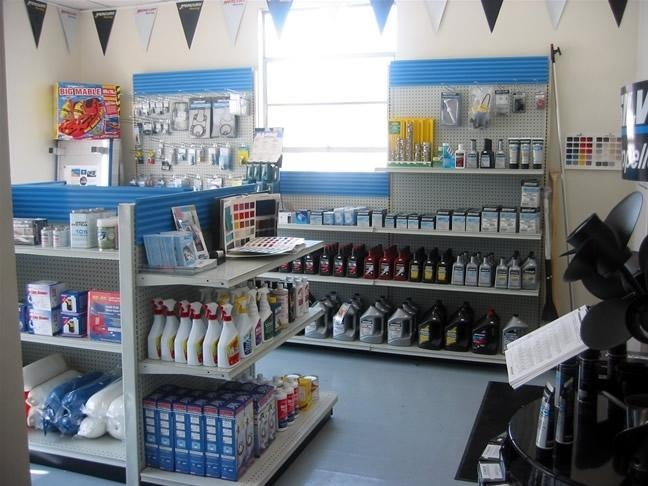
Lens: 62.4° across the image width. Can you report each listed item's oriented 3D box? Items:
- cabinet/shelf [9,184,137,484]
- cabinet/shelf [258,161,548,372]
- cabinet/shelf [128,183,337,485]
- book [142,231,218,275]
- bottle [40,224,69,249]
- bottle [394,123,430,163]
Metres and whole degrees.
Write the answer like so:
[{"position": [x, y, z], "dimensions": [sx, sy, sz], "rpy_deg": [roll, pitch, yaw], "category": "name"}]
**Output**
[{"position": [-1.616, 0.532, 3.524], "dimensions": [1.315, 1.758, 0.583], "rpy_deg": [7, 11, 34], "category": "cabinet/shelf"}, {"position": [0.826, 0.255, 5.019], "dimensions": [1.774, 1.279, 0.613], "rpy_deg": [2, 3, 21], "category": "cabinet/shelf"}, {"position": [-0.617, 0.657, 3.532], "dimensions": [0.679, 1.825, 1.846], "rpy_deg": [1, 6, 15], "category": "cabinet/shelf"}, {"position": [-0.880, 0.059, 3.117], "dimensions": [0.262, 0.182, 0.279], "rpy_deg": [2, 7, 6], "category": "book"}, {"position": [-1.729, -0.054, 3.450], "dimensions": [0.137, 0.148, 0.159], "rpy_deg": [2, 4, 21], "category": "bottle"}, {"position": [0.867, -0.981, 5.276], "dimensions": [0.360, 0.398, 0.205], "rpy_deg": [1, 2, 14], "category": "bottle"}]
